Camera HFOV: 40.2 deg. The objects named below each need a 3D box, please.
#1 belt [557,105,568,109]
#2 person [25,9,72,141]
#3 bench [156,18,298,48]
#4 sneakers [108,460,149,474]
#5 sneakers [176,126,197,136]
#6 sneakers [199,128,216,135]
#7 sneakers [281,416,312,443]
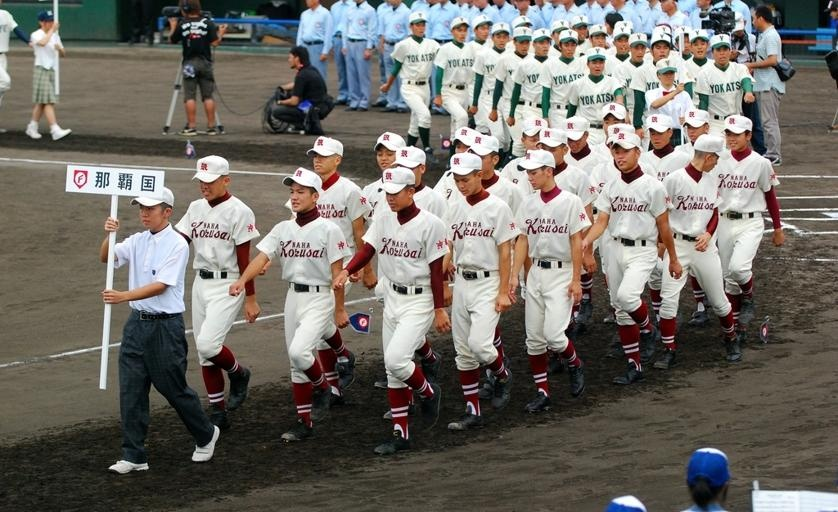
[{"bbox_3d":[2.657,-2.796,21.248,0.139,0.077,0.068,-4,-17,17],"label":"belt"},{"bbox_3d":[-8.374,-4.090,25.593,1.153,2.895,1.216,2,-3,-7],"label":"person"},{"bbox_3d":[-5.744,-8.085,40.795,3.609,1.063,0.722,-2,-9,10],"label":"bench"},{"bbox_3d":[-3.393,2.478,13.350,0.445,0.144,0.169,4,3,-20],"label":"sneakers"},{"bbox_3d":[-5.443,-2.929,26.690,0.432,0.152,0.184,9,13,40],"label":"sneakers"},{"bbox_3d":[-5.007,-2.961,26.973,0.176,0.165,0.489,1,1,-36],"label":"sneakers"},{"bbox_3d":[-1.496,2.131,13.965,0.390,0.258,0.226,-1,11,-8],"label":"sneakers"}]
